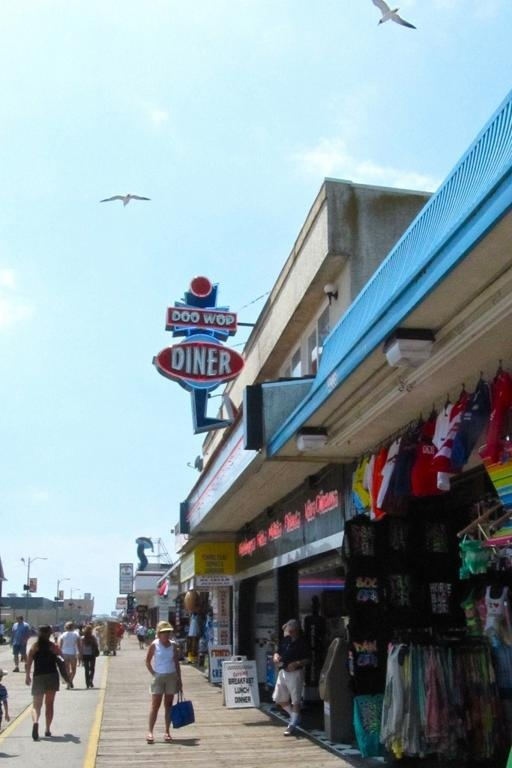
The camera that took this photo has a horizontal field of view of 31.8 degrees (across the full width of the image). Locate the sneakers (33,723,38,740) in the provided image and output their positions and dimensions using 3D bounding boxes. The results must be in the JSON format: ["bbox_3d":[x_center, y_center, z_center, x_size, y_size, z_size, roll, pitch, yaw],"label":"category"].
[{"bbox_3d":[-2.505,3.894,10.136,0.068,0.219,0.089,0,-7,-3],"label":"sneakers"}]

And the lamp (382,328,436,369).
[{"bbox_3d":[1.131,-0.264,6.578,0.379,0.255,0.301,-1,-18,4],"label":"lamp"}]

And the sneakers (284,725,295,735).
[{"bbox_3d":[0.399,4.133,10.721,0.130,0.112,0.369,-1,-19,4],"label":"sneakers"}]

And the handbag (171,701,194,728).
[{"bbox_3d":[-0.865,3.807,10.355,0.252,0.277,0.211,1,-18,-3],"label":"handbag"}]

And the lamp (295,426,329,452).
[{"bbox_3d":[0.582,0.586,9.466,0.237,0.183,0.276,-2,-18,4],"label":"lamp"}]
